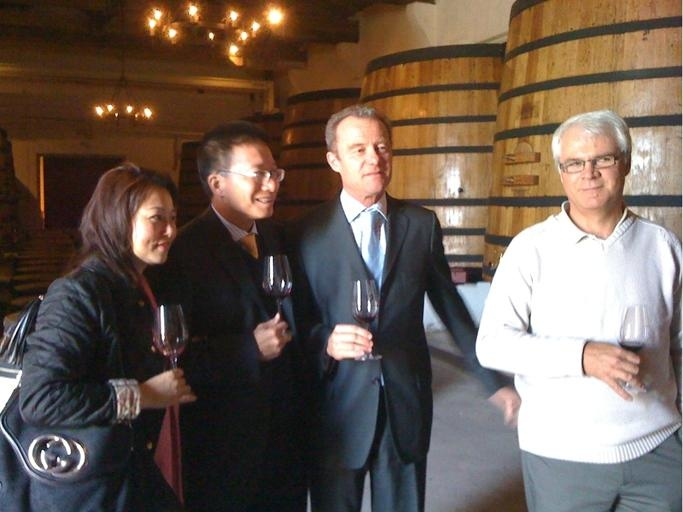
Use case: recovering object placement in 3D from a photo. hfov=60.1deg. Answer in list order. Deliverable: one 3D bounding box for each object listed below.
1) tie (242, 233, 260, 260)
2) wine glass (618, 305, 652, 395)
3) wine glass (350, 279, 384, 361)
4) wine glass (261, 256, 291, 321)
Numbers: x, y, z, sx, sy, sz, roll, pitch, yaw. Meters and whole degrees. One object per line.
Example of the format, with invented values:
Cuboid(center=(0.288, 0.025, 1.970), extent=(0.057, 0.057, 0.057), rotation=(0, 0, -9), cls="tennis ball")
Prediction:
Cuboid(center=(-0.380, -0.027, 2.492), extent=(0.070, 0.102, 0.050), rotation=(-28, 10, -32), cls="tie")
Cuboid(center=(1.018, 0.336, 2.056), extent=(0.089, 0.336, 0.218), rotation=(2, 8, 28), cls="wine glass")
Cuboid(center=(0.096, 0.256, 2.287), extent=(0.104, 0.343, 0.180), rotation=(-2, 7, 4), cls="wine glass")
Cuboid(center=(-0.249, 0.120, 2.283), extent=(0.083, 0.231, 0.084), rotation=(3, 8, 35), cls="wine glass")
